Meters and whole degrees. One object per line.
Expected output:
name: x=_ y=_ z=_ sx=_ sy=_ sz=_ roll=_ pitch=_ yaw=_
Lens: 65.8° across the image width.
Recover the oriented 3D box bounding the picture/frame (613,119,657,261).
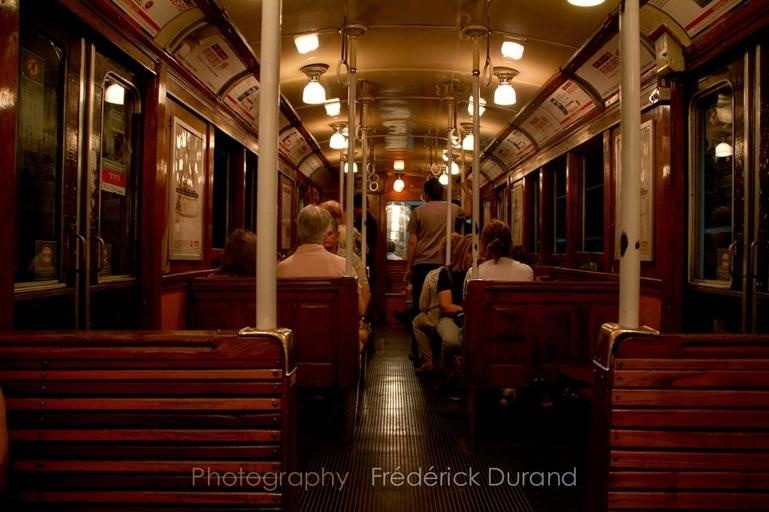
picture/frame: x=2.556 y=-0.669 z=6.121 sx=0.389 sy=1.583 sz=2.627 roll=1 pitch=5 yaw=21
